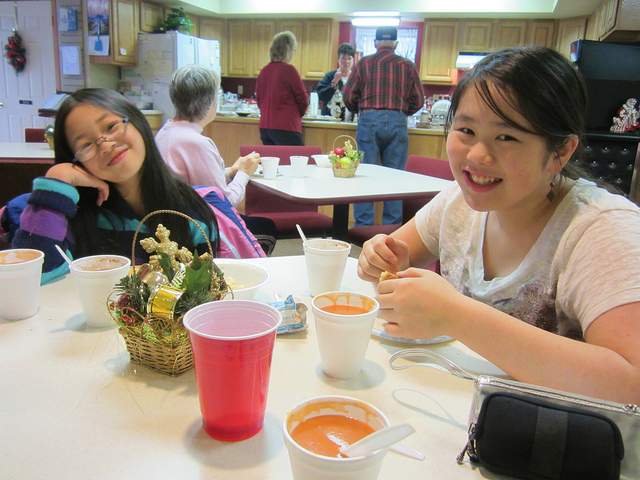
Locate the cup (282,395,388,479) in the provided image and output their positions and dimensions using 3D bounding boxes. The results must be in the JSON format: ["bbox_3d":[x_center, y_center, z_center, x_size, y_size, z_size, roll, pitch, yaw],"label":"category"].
[{"bbox_3d":[0.019,0.241,0.670,0.120,0.093,0.122,1,9,0],"label":"cup"}]

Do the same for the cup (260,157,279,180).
[{"bbox_3d":[-0.270,-0.394,2.606,0.113,0.112,0.111,2,20,-1],"label":"cup"}]

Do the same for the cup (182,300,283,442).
[{"bbox_3d":[-0.135,0.206,0.776,0.142,0.194,0.122,-7,20,-22],"label":"cup"}]

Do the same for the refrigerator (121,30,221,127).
[{"bbox_3d":[-1.951,-2.306,6.846,1.054,1.181,0.993,17,24,40],"label":"refrigerator"}]

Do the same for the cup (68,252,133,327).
[{"bbox_3d":[-0.442,0.106,0.977,0.109,0.115,0.114,3,20,-1],"label":"cup"}]

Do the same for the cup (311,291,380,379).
[{"bbox_3d":[0.050,0.184,0.910,0.136,0.137,0.138,2,6,0],"label":"cup"}]

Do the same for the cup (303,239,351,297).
[{"bbox_3d":[0.009,0.067,1.198,0.124,0.124,0.125,4,19,-2],"label":"cup"}]

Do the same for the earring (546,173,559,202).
[{"bbox_3d":[0.536,-0.120,1.108,0.016,0.060,0.039,15,23,35],"label":"earring"}]

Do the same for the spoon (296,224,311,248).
[{"bbox_3d":[-0.078,-0.028,2.395,0.019,0.176,0.023,-19,19,21],"label":"spoon"}]

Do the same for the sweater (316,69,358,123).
[{"bbox_3d":[0.231,-1.687,5.905,0.548,0.696,0.418,1,18,-22],"label":"sweater"}]

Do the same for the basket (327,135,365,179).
[{"bbox_3d":[0.152,-0.504,2.885,0.245,0.251,0.256,4,9,19],"label":"basket"}]

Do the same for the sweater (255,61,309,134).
[{"bbox_3d":[-0.382,-1.433,4.830,0.600,0.702,0.405,9,8,36],"label":"sweater"}]

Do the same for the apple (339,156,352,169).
[{"bbox_3d":[0.147,-0.447,2.772,0.057,0.044,0.054,-20,34,-28],"label":"apple"}]

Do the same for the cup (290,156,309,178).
[{"bbox_3d":[-0.117,-0.416,2.729,0.112,0.106,0.110,1,20,0],"label":"cup"}]

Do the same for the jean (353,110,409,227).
[{"bbox_3d":[0.559,-0.663,4.471,0.489,1.069,0.786,4,19,7],"label":"jean"}]

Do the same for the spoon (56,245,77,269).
[{"bbox_3d":[-0.678,0.045,1.287,0.015,0.073,0.015,-35,10,5],"label":"spoon"}]

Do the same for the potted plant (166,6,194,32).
[{"bbox_3d":[-1.963,-3.079,6.717,0.391,0.313,0.288,-12,23,-36],"label":"potted plant"}]
